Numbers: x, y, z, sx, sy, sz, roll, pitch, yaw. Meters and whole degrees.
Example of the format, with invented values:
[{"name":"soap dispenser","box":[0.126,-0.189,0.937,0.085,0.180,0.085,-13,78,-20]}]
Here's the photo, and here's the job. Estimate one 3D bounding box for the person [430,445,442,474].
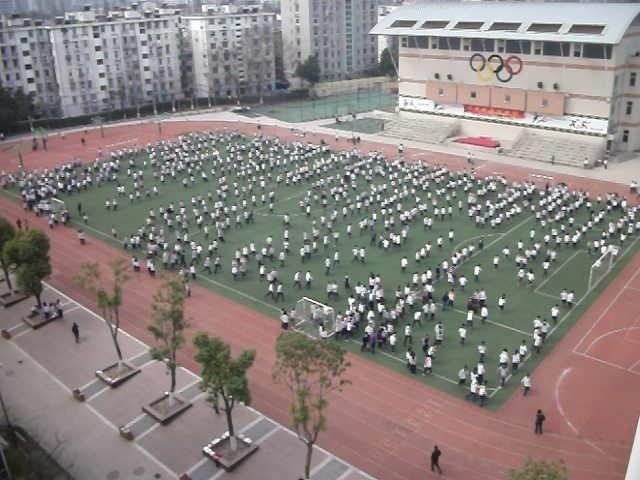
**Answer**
[{"name":"person","box":[6.584,11.925,34.250,0.648,1.441,1.373,5,26,13]}]
